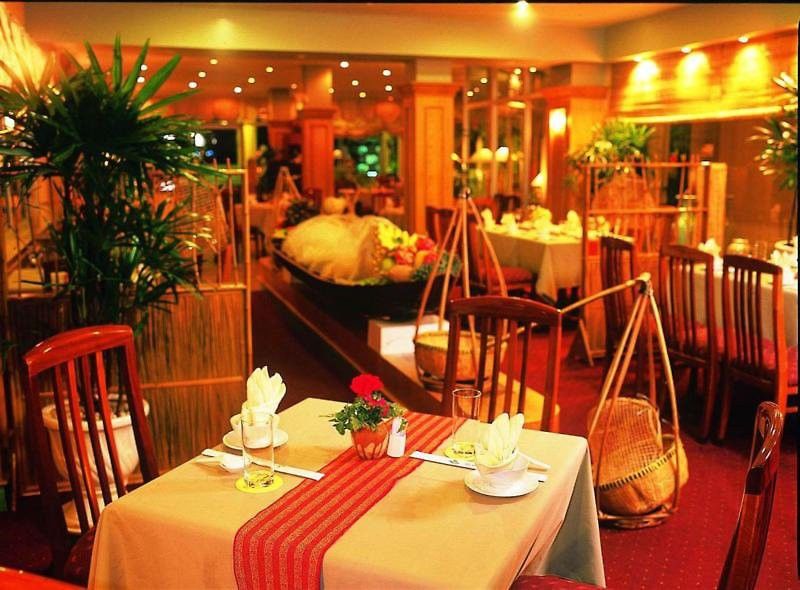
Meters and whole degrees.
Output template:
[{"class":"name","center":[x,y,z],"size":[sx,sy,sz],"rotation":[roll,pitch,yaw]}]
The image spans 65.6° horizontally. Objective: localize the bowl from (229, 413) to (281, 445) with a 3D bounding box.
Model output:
[{"class":"bowl","center":[-0.425,0.395,1.817],"size":[0.115,0.046,0.116],"rotation":[0,9,0]}]

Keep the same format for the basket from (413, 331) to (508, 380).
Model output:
[{"class":"basket","center":[0.325,0.335,3.592],"size":[0.365,0.159,0.360],"rotation":[-7,14,-41]}]

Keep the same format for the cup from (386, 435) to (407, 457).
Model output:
[{"class":"cup","center":[-0.011,0.475,1.941],"size":[0.052,0.061,0.060],"rotation":[1,-1,0]}]

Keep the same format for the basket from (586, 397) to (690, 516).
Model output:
[{"class":"basket","center":[1.121,0.708,3.074],"size":[0.485,0.256,0.600],"rotation":[-41,25,33]}]

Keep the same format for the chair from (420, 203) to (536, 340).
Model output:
[{"class":"chair","center":[0.594,-0.183,4.660],"size":[0.472,1.027,1.228],"rotation":[3,14,-4]}]

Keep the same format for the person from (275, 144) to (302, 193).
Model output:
[{"class":"person","center":[-2.544,-2.990,14.308],"size":[0.507,1.109,2.219],"rotation":[-4,11,-10]}]

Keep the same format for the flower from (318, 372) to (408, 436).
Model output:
[{"class":"flower","center":[-0.107,0.348,1.990],"size":[0.202,0.159,0.207],"rotation":[0,2,1]}]

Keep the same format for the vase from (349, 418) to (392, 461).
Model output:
[{"class":"vase","center":[-0.100,0.443,1.950],"size":[0.116,0.094,0.113],"rotation":[0,7,37]}]
